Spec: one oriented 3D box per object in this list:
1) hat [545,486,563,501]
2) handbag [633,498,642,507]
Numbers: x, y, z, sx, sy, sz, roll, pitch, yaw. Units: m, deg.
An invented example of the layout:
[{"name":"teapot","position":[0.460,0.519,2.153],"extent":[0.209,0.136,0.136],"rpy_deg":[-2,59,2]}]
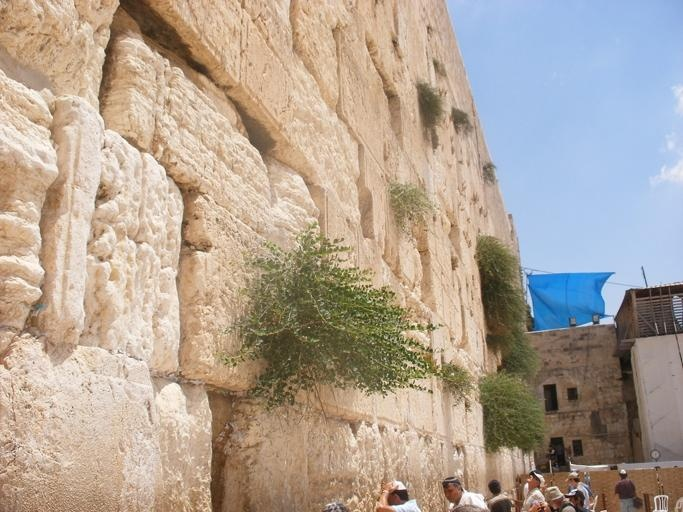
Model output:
[{"name":"hat","position":[1.679,1.862,8.769],"extent":[0.097,0.057,0.095],"rpy_deg":[-10,-8,-36]},{"name":"handbag","position":[3.234,2.658,12.109],"extent":[0.067,0.099,0.131],"rpy_deg":[1,-10,19]}]
